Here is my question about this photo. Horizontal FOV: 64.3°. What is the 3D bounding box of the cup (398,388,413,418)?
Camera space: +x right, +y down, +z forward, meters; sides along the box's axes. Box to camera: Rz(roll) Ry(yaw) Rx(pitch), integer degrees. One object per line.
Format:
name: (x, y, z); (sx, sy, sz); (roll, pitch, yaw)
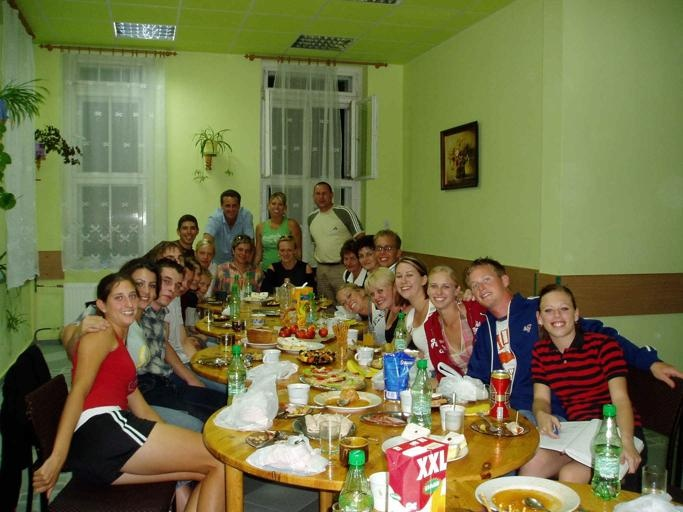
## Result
cup: (0.275, 0.610, 2.277); (0.081, 0.092, 0.086); (0, -7, 0)

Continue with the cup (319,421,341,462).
cup: (-0.041, 0.666, 2.002); (0.074, 0.125, 0.110); (-2, 7, -3)

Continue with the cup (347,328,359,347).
cup: (0.074, 0.518, 3.428); (0.071, 0.062, 0.080); (4, 6, 28)

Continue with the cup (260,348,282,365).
cup: (-0.381, 0.542, 2.961); (0.074, 0.064, 0.095); (0, -6, -3)

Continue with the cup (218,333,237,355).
cup: (-0.703, 0.536, 3.357); (0.115, 0.114, 0.075); (1, 1, 17)

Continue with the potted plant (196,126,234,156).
potted plant: (-1.645, -1.483, 7.057); (0.381, 0.264, 0.375); (-8, 15, -35)

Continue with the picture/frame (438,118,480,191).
picture/frame: (1.392, -1.178, 6.297); (0.070, 0.924, 0.895); (3, -4, -24)

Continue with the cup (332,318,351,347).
cup: (-0.016, 0.469, 3.309); (0.135, 0.208, 0.127); (0, -1, 0)

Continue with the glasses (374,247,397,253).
glasses: (0.393, -0.068, 4.801); (0.167, 0.051, 0.048); (-1, 7, 9)

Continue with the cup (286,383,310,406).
cup: (-0.190, 0.607, 2.408); (0.088, 0.072, 0.094); (1, -8, 0)

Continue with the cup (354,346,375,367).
cup: (0.132, 0.557, 3.033); (0.069, 0.076, 0.107); (6, 9, 32)

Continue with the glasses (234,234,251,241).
glasses: (-0.967, -0.191, 5.403); (0.118, 0.032, 0.118); (3, -4, -28)

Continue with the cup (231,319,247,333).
cup: (-0.713, 0.477, 3.741); (0.116, 0.087, 0.104); (4, -5, -1)

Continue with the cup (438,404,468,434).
cup: (0.453, 0.644, 2.197); (0.097, 0.098, 0.098); (1, 11, 0)

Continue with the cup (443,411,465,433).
cup: (0.453, 0.657, 2.167); (0.080, 0.083, 0.081); (-1, -1, 0)
